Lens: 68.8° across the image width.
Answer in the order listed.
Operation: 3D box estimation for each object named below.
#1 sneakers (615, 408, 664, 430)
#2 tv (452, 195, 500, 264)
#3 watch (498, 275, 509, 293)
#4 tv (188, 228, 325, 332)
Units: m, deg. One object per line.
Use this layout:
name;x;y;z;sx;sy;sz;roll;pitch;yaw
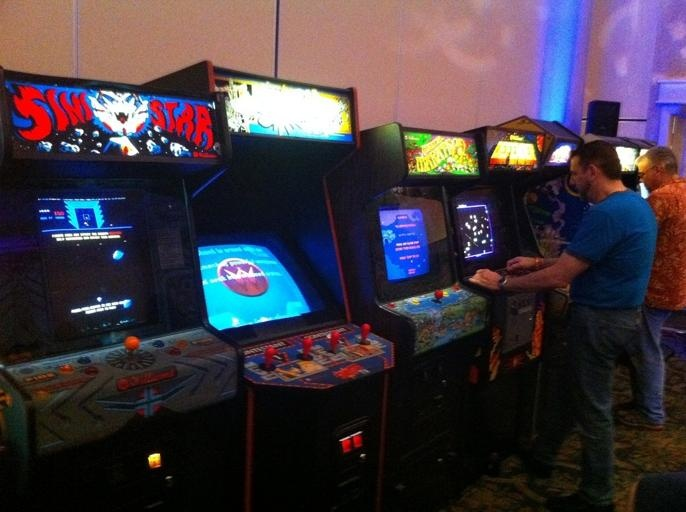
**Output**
sneakers;2.058;1.146;3.484;0.098;0.101;0.274;-11;3;-32
tv;0.794;-0.146;2.980;0.442;0.362;0.102;-6;0;-43
watch;0.847;0.150;2.618;0.059;0.079;0.086;5;38;19
tv;-0.383;0.087;2.175;0.517;0.375;0.200;-11;8;-36
